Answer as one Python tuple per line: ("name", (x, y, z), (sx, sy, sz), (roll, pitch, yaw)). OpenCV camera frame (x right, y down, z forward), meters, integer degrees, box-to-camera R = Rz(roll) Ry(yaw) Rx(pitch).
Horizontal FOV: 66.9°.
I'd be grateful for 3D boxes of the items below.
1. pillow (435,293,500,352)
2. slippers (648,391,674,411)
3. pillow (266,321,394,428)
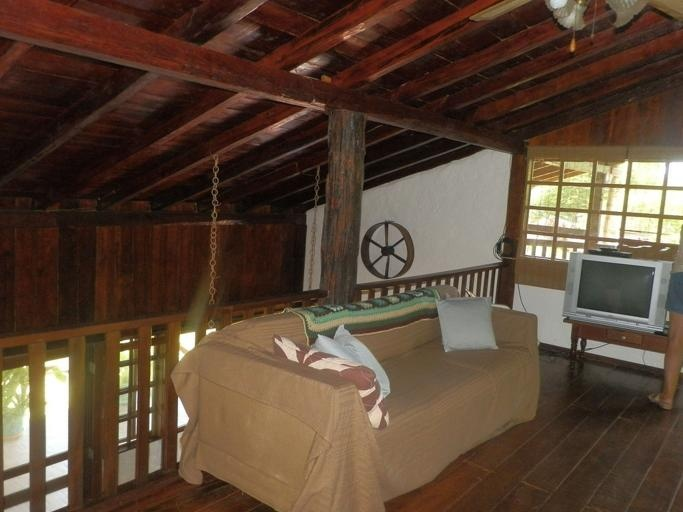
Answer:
("pillow", (1.032, 0.549, 4.230), (0.483, 0.396, 0.137), (2, -20, -12))
("slippers", (2.809, 1.263, 4.547), (0.091, 0.065, 0.169), (-21, 24, -21))
("pillow", (-0.062, 0.733, 3.074), (0.720, 0.443, 0.210), (9, 15, 28))
